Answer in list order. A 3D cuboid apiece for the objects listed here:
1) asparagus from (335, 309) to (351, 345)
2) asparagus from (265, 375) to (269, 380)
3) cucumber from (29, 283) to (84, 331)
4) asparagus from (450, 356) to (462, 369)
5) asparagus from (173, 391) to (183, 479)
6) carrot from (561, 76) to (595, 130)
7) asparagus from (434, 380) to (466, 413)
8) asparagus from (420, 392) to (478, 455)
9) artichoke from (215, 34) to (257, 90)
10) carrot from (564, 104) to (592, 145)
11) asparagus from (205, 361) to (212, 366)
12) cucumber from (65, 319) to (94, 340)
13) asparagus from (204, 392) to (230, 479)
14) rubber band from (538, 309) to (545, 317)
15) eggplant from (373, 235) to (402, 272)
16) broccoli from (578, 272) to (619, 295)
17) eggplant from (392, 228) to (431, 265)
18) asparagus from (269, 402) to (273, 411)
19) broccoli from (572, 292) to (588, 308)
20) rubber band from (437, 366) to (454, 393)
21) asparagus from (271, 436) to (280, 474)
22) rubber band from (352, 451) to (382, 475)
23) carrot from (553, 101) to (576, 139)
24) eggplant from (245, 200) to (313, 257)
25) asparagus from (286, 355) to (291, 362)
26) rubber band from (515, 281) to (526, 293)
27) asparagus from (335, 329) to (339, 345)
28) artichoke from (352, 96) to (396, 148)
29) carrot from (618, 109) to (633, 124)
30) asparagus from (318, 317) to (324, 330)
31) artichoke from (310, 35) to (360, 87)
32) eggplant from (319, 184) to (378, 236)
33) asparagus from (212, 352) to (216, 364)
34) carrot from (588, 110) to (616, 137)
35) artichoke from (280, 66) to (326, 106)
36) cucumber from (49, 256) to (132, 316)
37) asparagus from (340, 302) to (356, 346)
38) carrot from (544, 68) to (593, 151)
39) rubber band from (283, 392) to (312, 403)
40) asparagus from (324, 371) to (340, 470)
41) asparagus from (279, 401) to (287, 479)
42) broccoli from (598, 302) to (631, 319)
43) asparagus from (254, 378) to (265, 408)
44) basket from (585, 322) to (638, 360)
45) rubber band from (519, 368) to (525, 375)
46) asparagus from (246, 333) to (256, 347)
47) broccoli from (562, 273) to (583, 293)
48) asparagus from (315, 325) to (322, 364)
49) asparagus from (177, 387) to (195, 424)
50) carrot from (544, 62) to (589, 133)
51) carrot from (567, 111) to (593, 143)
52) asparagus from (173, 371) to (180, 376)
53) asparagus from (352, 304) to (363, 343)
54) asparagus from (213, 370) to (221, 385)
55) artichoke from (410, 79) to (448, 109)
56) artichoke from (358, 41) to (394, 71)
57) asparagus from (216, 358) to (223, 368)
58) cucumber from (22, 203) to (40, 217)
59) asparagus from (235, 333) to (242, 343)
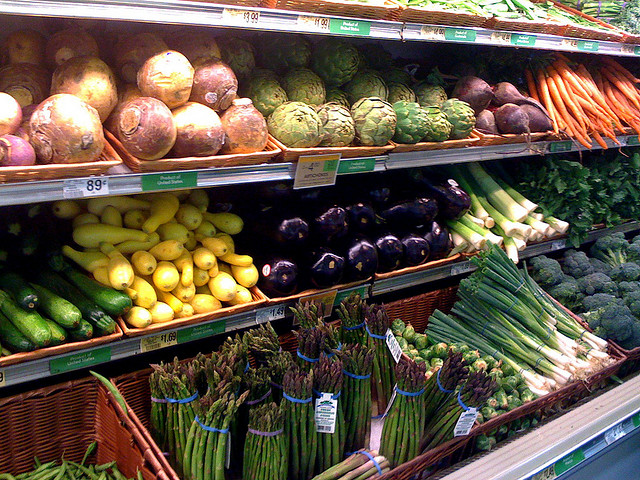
[{"bbox_3d":[0.129,0.473,2.282,0.038,0.261,0.039,-21,22,7],"label":"asparagus"},{"bbox_3d":[-0.230,0.591,1.910,0.006,0.024,0.007,14,-17,-20],"label":"asparagus"},{"bbox_3d":[-1.158,0.296,1.931,0.322,0.092,0.093,29,27,23],"label":"cucumber"},{"bbox_3d":[0.643,0.582,2.104,0.069,0.014,0.018,-49,28,-6],"label":"asparagus"},{"bbox_3d":[-0.591,0.828,1.847,0.046,0.386,0.041,0,2,-17],"label":"asparagus"},{"bbox_3d":[1.967,-1.035,3.386,0.075,0.524,0.058,-25,-10,-12],"label":"carrot"},{"bbox_3d":[0.624,0.741,2.107,0.035,0.205,0.031,35,16,-50],"label":"asparagus"},{"bbox_3d":[0.602,0.858,2.102,0.051,0.450,0.050,37,4,27],"label":"asparagus"},{"bbox_3d":[-0.465,-0.954,2.386,0.215,0.188,0.239,32,20,-29],"label":"artichoke"},{"bbox_3d":[1.929,-0.872,3.325,0.053,0.367,0.044,-2,-29,-47],"label":"carrot"},{"bbox_3d":[-0.452,0.499,1.797,0.024,0.025,0.014,-7,16,-16],"label":"asparagus"},{"bbox_3d":[-1.009,0.381,1.883,0.123,0.059,0.060,-4,7,-14],"label":"cucumber"},{"bbox_3d":[-0.435,0.795,1.764,0.038,0.438,0.061,23,18,17],"label":"asparagus"},{"bbox_3d":[1.427,0.471,2.859,0.047,0.011,0.043,-29,-2,-34],"label":"rubber band"},{"bbox_3d":[0.405,0.072,2.629,0.196,0.228,0.192,-1,7,-15],"label":"eggplant"},{"bbox_3d":[2.024,0.315,3.268,0.179,0.079,0.179,3,11,5],"label":"broccoli"},{"bbox_3d":[0.573,0.037,2.777,0.137,0.106,0.293,-16,17,-6],"label":"eggplant"},{"bbox_3d":[-0.193,0.657,1.755,0.009,0.008,0.029,-36,19,33],"label":"asparagus"},{"bbox_3d":[1.879,0.429,3.228,0.102,0.101,0.038,-11,32,-25],"label":"broccoli"},{"bbox_3d":[0.604,0.684,2.162,0.106,0.109,0.027,16,21,13],"label":"rubber band"},{"bbox_3d":[-0.173,0.854,1.771,0.021,0.157,0.022,-11,3,43],"label":"asparagus"},{"bbox_3d":[0.210,0.958,1.898,0.084,0.078,0.021,-10,-29,-48],"label":"rubber band"},{"bbox_3d":[1.804,-0.880,3.271,0.068,0.059,0.354,20,42,-34],"label":"carrot"},{"bbox_3d":[-0.252,-0.097,2.563,0.439,0.200,0.205,29,8,40],"label":"eggplant"},{"bbox_3d":[-0.141,0.533,1.980,0.020,0.029,0.053,-4,15,-6],"label":"asparagus"},{"bbox_3d":[1.257,0.295,2.786,0.106,0.014,0.014,-34,59,-14],"label":"rubber band"},{"bbox_3d":[0.085,0.476,2.170,0.017,0.061,0.014,-13,41,-26],"label":"asparagus"},{"bbox_3d":[0.273,-0.668,2.442,0.216,0.252,0.282,3,38,3],"label":"artichoke"},{"bbox_3d":[2.531,-1.013,3.657,0.034,0.158,0.040,-40,-7,-45],"label":"carrot"},{"bbox_3d":[0.002,0.379,2.018,0.012,0.046,0.012,-5,-5,41],"label":"asparagus"},{"bbox_3d":[0.099,-1.020,2.607,0.289,0.251,0.245,0,5,30],"label":"artichoke"},{"bbox_3d":[0.172,-0.203,2.734,0.203,0.201,0.433,-23,16,-2],"label":"eggplant"},{"bbox_3d":[-0.462,0.516,1.930,0.012,0.011,0.034,39,6,-14],"label":"asparagus"},{"bbox_3d":[2.203,-0.915,3.471,0.036,0.320,0.034,-40,-7,-2],"label":"carrot"},{"bbox_3d":[-0.077,-0.804,2.440,0.161,0.150,0.191,-41,-17,33],"label":"artichoke"},{"bbox_3d":[-1.044,0.211,2.015,0.402,0.138,0.140,35,33,-9],"label":"cucumber"},{"bbox_3d":[0.147,0.414,2.224,0.035,0.283,0.042,-28,26,-14],"label":"asparagus"},{"bbox_3d":[1.863,-0.971,3.339,0.087,0.778,0.083,-34,-21,32],"label":"carrot"},{"bbox_3d":[-0.096,0.649,1.827,0.113,0.050,0.027,-1,15,4],"label":"rubber band"},{"bbox_3d":[0.041,0.783,1.910,0.071,0.410,0.062,4,5,12],"label":"asparagus"},{"bbox_3d":[-0.149,0.812,1.788,0.039,0.283,0.031,0,16,-6],"label":"asparagus"},{"bbox_3d":[1.912,0.451,2.858,0.147,0.067,0.116,-1,7,14],"label":"broccoli"},{"bbox_3d":[-0.260,0.638,1.903,0.046,0.095,0.008,-7,16,-15],"label":"asparagus"},{"bbox_3d":[1.947,0.674,2.900,0.225,0.066,0.065,40,20,16],"label":"basket"},{"bbox_3d":[1.203,0.783,2.636,0.025,0.034,0.034,-4,8,1],"label":"rubber band"},{"bbox_3d":[-0.320,0.461,2.040,0.031,0.078,0.025,-30,-4,-13],"label":"asparagus"},{"bbox_3d":[1.896,0.319,3.318,0.100,0.042,0.163,9,28,-7],"label":"broccoli"},{"bbox_3d":[-0.007,0.459,1.992,0.035,0.146,0.047,-2,15,4],"label":"asparagus"},{"bbox_3d":[-0.548,0.676,1.808,0.022,0.171,0.020,-24,-8,7],"label":"asparagus"},{"bbox_3d":[1.865,-1.066,3.365,0.098,0.718,0.097,-31,-18,17],"label":"carrot"},{"bbox_3d":[1.946,-0.851,3.327,0.038,0.319,0.047,-31,-20,7],"label":"carrot"},{"bbox_3d":[-0.599,0.553,1.841,0.029,0.012,0.039,0,3,1],"label":"asparagus"},{"bbox_3d":[0.192,0.398,2.228,0.033,0.230,0.033,-5,-2,-16],"label":"asparagus"},{"bbox_3d":[-0.422,0.562,1.808,0.030,0.061,0.026,-6,15,-12],"label":"asparagus"},{"bbox_3d":[0.688,-0.927,2.806,0.260,0.129,0.164,-19,56,-28],"label":"artichoke"},{"bbox_3d":[0.370,-1.209,2.911,0.243,0.128,0.158,10,8,-15],"label":"artichoke"},{"bbox_3d":[-0.416,0.510,1.837,0.013,0.014,0.037,27,27,-8],"label":"asparagus"},{"bbox_3d":[-1.363,-0.142,2.098,0.092,0.048,0.034,13,-13,3],"label":"cucumber"},{"bbox_3d":[-0.377,0.449,2.032,0.012,0.015,0.056,3,18,-16],"label":"asparagus"}]
